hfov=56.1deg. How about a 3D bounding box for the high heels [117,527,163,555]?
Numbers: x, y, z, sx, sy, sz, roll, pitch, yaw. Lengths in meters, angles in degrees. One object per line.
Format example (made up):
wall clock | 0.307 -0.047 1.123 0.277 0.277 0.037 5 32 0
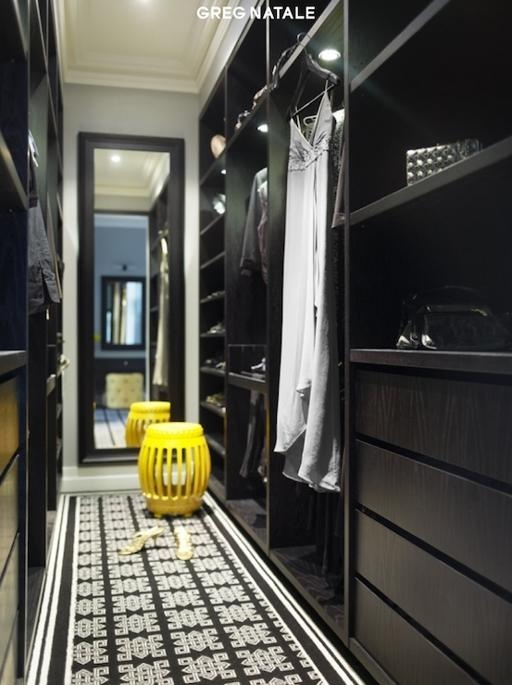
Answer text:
high heels | -0.491 0.833 2.046 0.189 0.069 0.092 3 -5 -31

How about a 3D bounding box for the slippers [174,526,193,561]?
slippers | -0.310 0.831 2.045 0.079 0.076 0.247 1 -5 -10

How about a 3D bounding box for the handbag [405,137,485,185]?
handbag | 0.375 -0.375 0.974 0.149 0.069 0.032 -4 -5 43

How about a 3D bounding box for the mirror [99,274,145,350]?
mirror | -0.930 -0.214 3.276 0.316 0.853 0.053 0 2 -17

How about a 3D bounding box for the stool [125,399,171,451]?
stool | -0.803 0.609 3.365 0.224 0.333 0.253 6 -2 -33

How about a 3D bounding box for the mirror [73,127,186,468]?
mirror | -0.918 -0.220 3.436 0.584 2.492 0.044 -6 30 -30

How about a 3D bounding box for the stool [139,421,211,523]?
stool | -0.427 0.599 2.560 0.311 0.590 0.395 10 21 15
